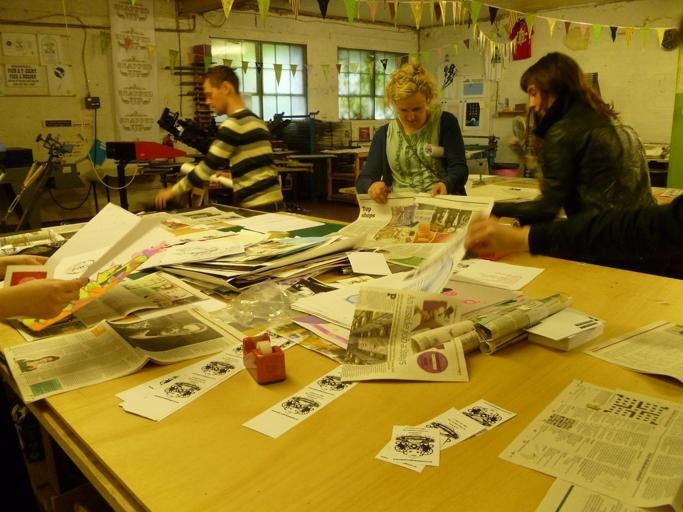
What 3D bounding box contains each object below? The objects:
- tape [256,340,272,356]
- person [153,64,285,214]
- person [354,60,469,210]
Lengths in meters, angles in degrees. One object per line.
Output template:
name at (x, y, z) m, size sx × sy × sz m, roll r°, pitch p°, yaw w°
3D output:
tape at (-0.151, 0.181, 0.950) m, size 0.022 × 0.035 × 0.039 m, roll -6°, pitch 18°, yaw -20°
person at (-0.685, -0.710, 2.891) m, size 0.598 × 0.894 × 0.778 m, roll -3°, pitch 14°, yaw -2°
person at (0.375, -0.670, 2.563) m, size 0.581 × 0.674 × 0.452 m, roll 2°, pitch 15°, yaw 18°
